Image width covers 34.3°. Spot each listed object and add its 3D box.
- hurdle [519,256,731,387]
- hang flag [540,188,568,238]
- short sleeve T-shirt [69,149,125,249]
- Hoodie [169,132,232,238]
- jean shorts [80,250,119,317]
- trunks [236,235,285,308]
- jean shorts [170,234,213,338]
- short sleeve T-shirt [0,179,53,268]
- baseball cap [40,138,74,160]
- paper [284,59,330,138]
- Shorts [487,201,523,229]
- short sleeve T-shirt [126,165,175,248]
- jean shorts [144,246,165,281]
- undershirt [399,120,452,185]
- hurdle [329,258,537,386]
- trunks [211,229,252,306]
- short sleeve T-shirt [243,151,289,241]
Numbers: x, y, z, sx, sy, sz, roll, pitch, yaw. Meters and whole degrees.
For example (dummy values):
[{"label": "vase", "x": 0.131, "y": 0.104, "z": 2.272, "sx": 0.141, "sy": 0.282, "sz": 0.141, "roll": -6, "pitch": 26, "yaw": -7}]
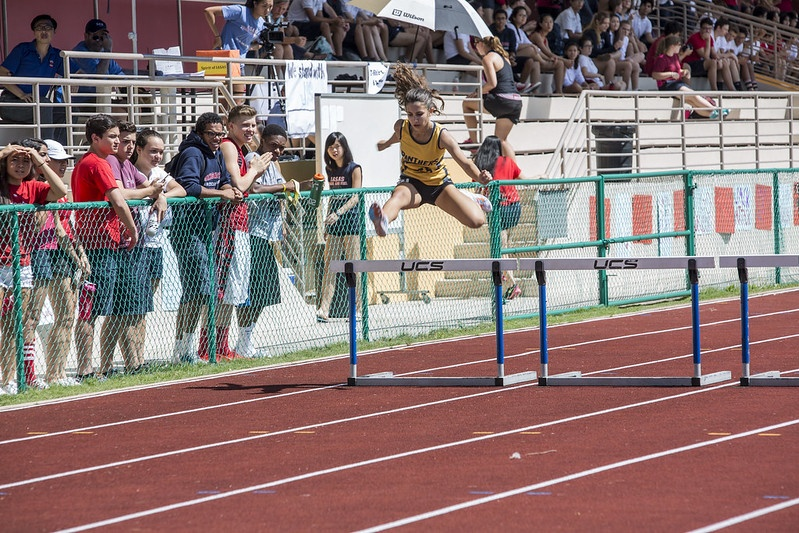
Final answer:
[{"label": "hurdle", "x": 2.521, "y": 0.592, "z": 13.132, "sx": 2.222, "sy": 1.357, "sz": 1.308, "roll": 0, "pitch": 0, "yaw": -19}, {"label": "hang flag", "x": 2.229, "y": -0.777, "z": 18.540, "sx": 0.065, "sy": 0.701, "sz": 0.731, "roll": 5, "pitch": 7, "yaw": 41}, {"label": "short sleeve T-shirt", "x": -3.297, "y": -0.690, "z": 13.966, "sx": 0.609, "sy": 1.059, "sz": 1.034, "roll": -7, "pitch": 8, "yaw": -24}, {"label": "Hoodie", "x": -2.228, "y": -0.837, "z": 15.129, "sx": 0.987, "sy": 1.371, "sz": 0.774, "roll": 5, "pitch": 8, "yaw": -4}, {"label": "jean shorts", "x": -3.272, "y": 0.168, "z": 13.929, "sx": 0.473, "sy": 0.612, "sz": 0.235, "roll": 0, "pitch": 0, "yaw": 9}, {"label": "trunks", "x": -1.706, "y": 0.122, "z": 15.622, "sx": 0.659, "sy": 0.826, "sz": 0.610, "roll": 10, "pitch": 12, "yaw": 37}, {"label": "jean shorts", "x": -2.400, "y": 0.240, "z": 14.730, "sx": 0.386, "sy": 1.191, "sz": 0.161, "roll": -3, "pitch": 11, "yaw": -10}, {"label": "short sleeve T-shirt", "x": -4.020, "y": -0.451, "z": 13.667, "sx": 0.344, "sy": 0.845, "sz": 0.670, "roll": 2, "pitch": 11, "yaw": 15}, {"label": "baseball cap", "x": -3.830, "y": -1.294, "z": 14.128, "sx": 0.328, "sy": 0.110, "sz": 0.212, "roll": 20, "pitch": 9, "yaw": 30}, {"label": "paper", "x": -1.361, "y": -2.395, "z": 18.639, "sx": 0.158, "sy": 1.363, "sz": 1.405, "roll": 0, "pitch": 4, "yaw": 33}, {"label": "Shorts", "x": 1.517, "y": -0.702, "z": 17.747, "sx": 0.390, "sy": 0.143, "sz": 0.394, "roll": -17, "pitch": 29, "yaw": 8}, {"label": "short sleeve T-shirt", "x": -2.823, "y": -0.637, "z": 14.397, "sx": 0.347, "sy": 0.956, "sz": 0.424, "roll": 2, "pitch": 3, "yaw": -6}, {"label": "jean shorts", "x": -2.771, "y": -0.045, "z": 14.378, "sx": 0.047, "sy": 0.456, "sz": 0.376, "roll": 7, "pitch": 9, "yaw": 34}, {"label": "undershirt", "x": 0.316, "y": -1.330, "z": 15.199, "sx": 0.665, "sy": 0.741, "sz": 0.448, "roll": 19, "pitch": 33, "yaw": 35}, {"label": "hurdle", "x": 0.370, "y": 0.658, "z": 14.387, "sx": 2.397, "sy": 1.395, "sz": 1.406, "roll": -1, "pitch": -2, "yaw": 9}, {"label": "trunks", "x": -1.951, "y": 0.018, "z": 15.032, "sx": 0.196, "sy": 0.760, "sz": 0.475, "roll": -1, "pitch": -2, "yaw": 29}, {"label": "short sleeve T-shirt", "x": -1.580, "y": -0.769, "z": 15.487, "sx": 0.467, "sy": 1.448, "sz": 0.587, "roll": 5, "pitch": 8, "yaw": 26}]
